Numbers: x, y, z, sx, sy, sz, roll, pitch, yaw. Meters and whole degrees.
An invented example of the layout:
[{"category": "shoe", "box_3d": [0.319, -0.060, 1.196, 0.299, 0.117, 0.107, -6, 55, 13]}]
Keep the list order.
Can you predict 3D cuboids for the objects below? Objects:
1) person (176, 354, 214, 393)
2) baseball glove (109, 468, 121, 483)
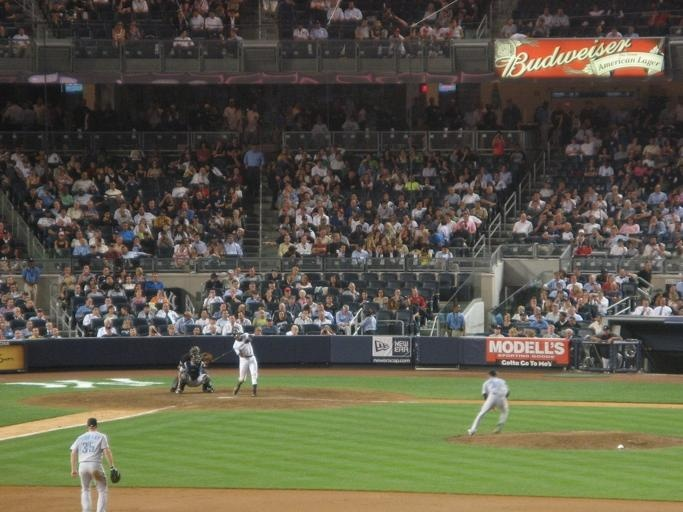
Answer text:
[{"category": "person", "box_3d": [-5.513, 4.414, 72.975, 1.329, 1.489, 0.815, 1, -8, -4]}, {"category": "baseball glove", "box_3d": [-7.220, 6.888, 61.409, 0.367, 0.545, 0.520, 8, -41, -7]}]
